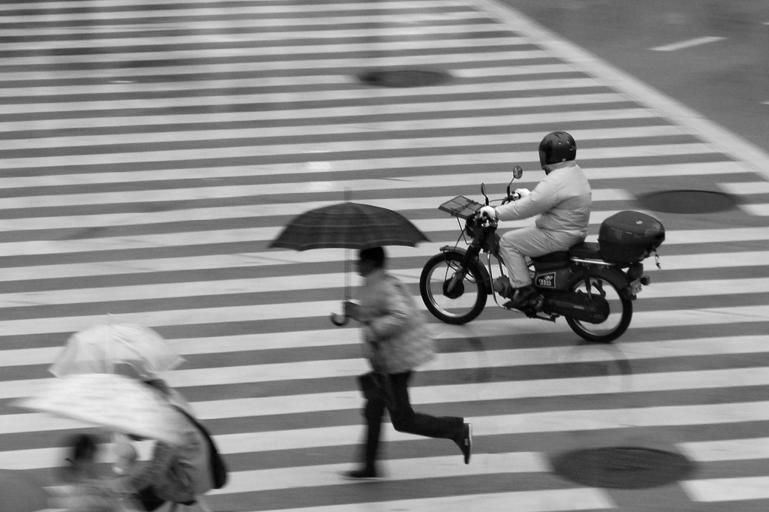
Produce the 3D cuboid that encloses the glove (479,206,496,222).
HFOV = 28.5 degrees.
[{"bbox_3d":[1.390,-0.561,20.043,0.204,0.176,0.211,5,12,32],"label":"glove"}]

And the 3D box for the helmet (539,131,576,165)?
[{"bbox_3d":[2.283,-1.379,19.854,0.460,0.481,0.350,4,41,9],"label":"helmet"}]

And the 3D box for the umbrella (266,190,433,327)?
[{"bbox_3d":[-0.395,0.066,18.183,1.732,0.962,1.658,5,-7,-44],"label":"umbrella"}]

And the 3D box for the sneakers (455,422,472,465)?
[{"bbox_3d":[0.968,2.227,18.033,0.225,0.457,0.239,-1,-1,-18],"label":"sneakers"}]
